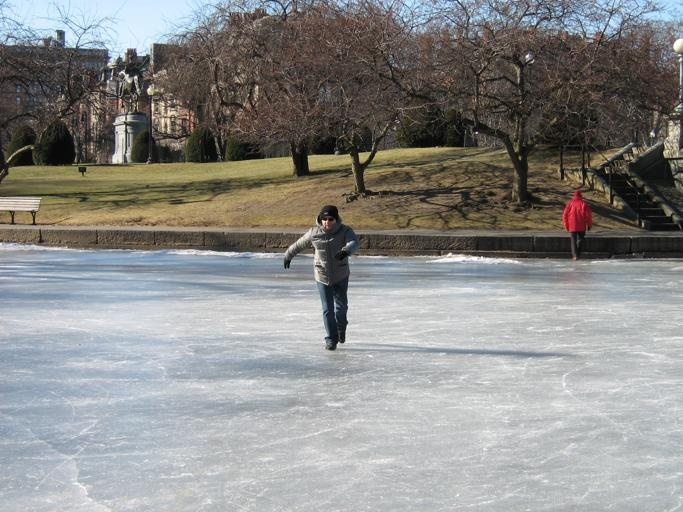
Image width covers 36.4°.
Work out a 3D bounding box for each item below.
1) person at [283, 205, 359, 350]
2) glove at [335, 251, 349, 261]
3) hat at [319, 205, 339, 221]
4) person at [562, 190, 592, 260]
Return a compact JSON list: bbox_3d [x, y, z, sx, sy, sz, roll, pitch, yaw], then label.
[{"bbox_3d":[-0.204,0.250,12.346,0.812,1.684,0.903,-2,3,-2],"label":"person"},{"bbox_3d":[0.007,0.000,12.035,0.156,0.111,0.288,-1,3,0],"label":"glove"},{"bbox_3d":[-0.160,-0.500,12.197,0.185,0.151,0.222,0,-4,13],"label":"hat"},{"bbox_3d":[5.392,-0.686,23.750,0.561,1.509,1.116,-1,3,11],"label":"person"}]
